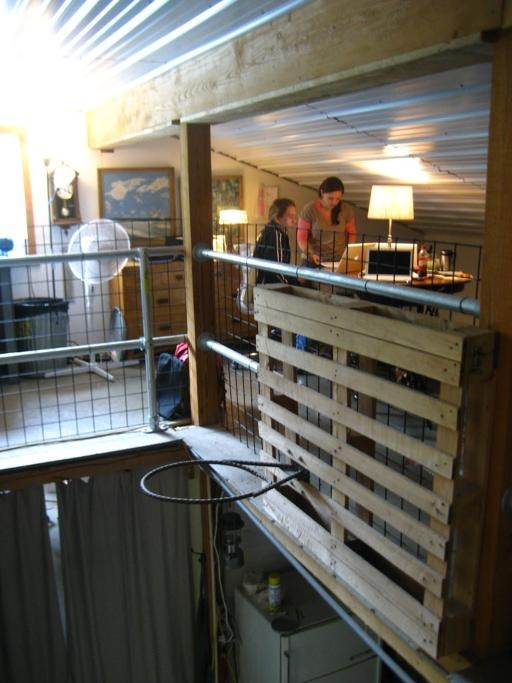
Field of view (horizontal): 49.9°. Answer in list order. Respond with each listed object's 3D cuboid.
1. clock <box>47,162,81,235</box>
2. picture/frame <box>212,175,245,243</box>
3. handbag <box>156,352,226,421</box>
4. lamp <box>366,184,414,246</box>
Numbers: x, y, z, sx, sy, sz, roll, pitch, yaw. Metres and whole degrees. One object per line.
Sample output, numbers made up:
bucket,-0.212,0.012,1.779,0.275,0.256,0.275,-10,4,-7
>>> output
clock,-1.961,-1.475,5.638,0.307,0.665,0.195,-6,0,-6
picture/frame,-0.366,-1.607,6.794,0.393,0.808,0.035,0,10,13
handbag,-0.374,0.291,3.553,0.319,0.448,0.261,-9,-11,37
lamp,1.242,-1.127,5.097,0.427,0.637,0.423,-12,17,-38
